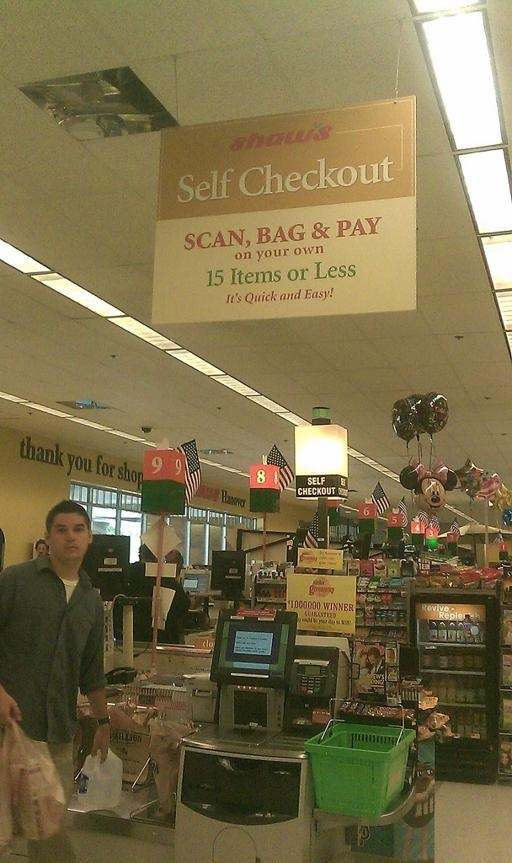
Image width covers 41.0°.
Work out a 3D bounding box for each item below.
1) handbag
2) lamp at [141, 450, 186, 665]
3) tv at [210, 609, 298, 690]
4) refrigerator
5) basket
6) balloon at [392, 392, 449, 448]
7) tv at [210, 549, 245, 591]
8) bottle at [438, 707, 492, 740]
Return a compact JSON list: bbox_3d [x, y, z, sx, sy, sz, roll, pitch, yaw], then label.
[{"bbox_3d":[-0.504,1.440,3.084,0.541,0.525,0.136,6,1,18],"label":"handbag"},{"bbox_3d":[-0.636,0.811,4.475,0.230,1.416,0.239,-1,-12,7],"label":"lamp"},{"bbox_3d":[-0.016,0.894,2.847,0.349,0.282,0.214,-1,-11,13],"label":"tv"},{"bbox_3d":[1.682,2.104,5.775,0.758,1.477,0.572,-3,-11,22],"label":"refrigerator"},{"bbox_3d":[0.391,1.172,2.416,0.380,0.292,0.446,-11,-16,33],"label":"basket"},{"bbox_3d":[2.190,-0.156,8.849,0.631,0.688,0.246,-7,-2,26],"label":"balloon"},{"bbox_3d":[-0.386,1.982,9.504,0.465,0.611,0.279,2,-10,-2],"label":"tv"},{"bbox_3d":[1.737,2.411,5.697,0.344,0.240,0.214,-1,-11,11],"label":"bottle"}]
